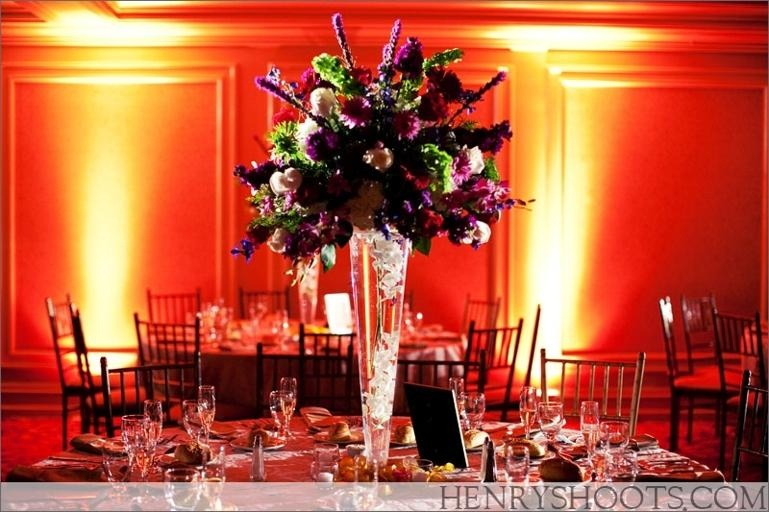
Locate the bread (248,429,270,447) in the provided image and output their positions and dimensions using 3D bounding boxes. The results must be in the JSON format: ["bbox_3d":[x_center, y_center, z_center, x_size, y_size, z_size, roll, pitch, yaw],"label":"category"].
[{"bbox_3d":[-0.701,1.010,4.359,0.104,0.103,0.105,2,5,4],"label":"bread"}]

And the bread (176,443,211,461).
[{"bbox_3d":[-1.027,1.021,4.130,0.120,0.049,0.123,4,-2,14],"label":"bread"}]

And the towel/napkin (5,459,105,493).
[{"bbox_3d":[-1.706,1.139,4.122,0.529,0.101,0.237,-1,-4,-4],"label":"towel/napkin"}]

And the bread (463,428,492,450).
[{"bbox_3d":[0.515,1.007,4.350,0.124,0.067,0.138,3,10,23],"label":"bread"}]

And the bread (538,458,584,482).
[{"bbox_3d":[0.909,1.100,4.041,0.155,0.089,0.129,-2,-17,18],"label":"bread"}]

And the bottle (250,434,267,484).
[{"bbox_3d":[-0.672,1.066,4.191,0.075,0.219,0.202,0,-3,-10],"label":"bottle"}]

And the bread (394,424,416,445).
[{"bbox_3d":[0.118,1.022,4.513,0.106,0.077,0.108,0,-9,-3],"label":"bread"}]
